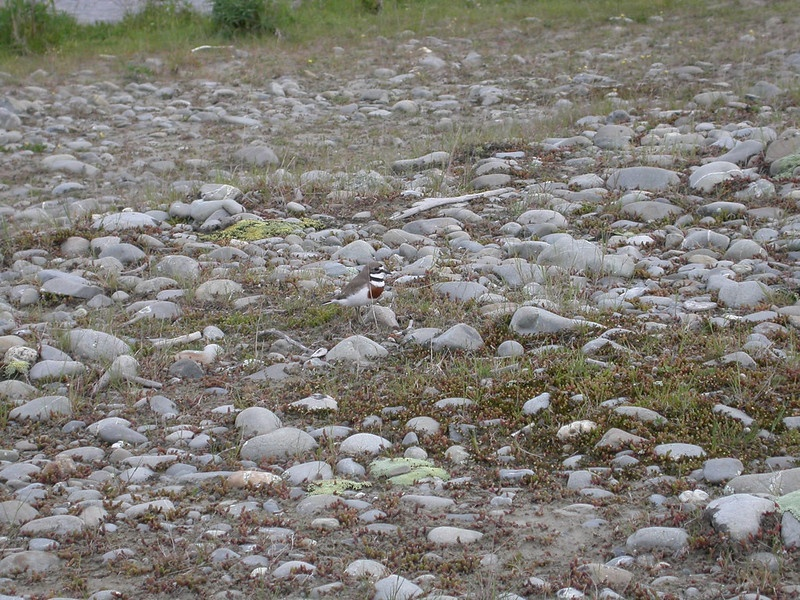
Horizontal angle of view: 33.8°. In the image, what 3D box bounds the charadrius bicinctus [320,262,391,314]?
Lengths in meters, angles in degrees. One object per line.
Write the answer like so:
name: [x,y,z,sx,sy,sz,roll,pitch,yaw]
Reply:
charadrius bicinctus: [-0.485,-0.146,14.608,0.777,0.627,0.400,3,8,18]
